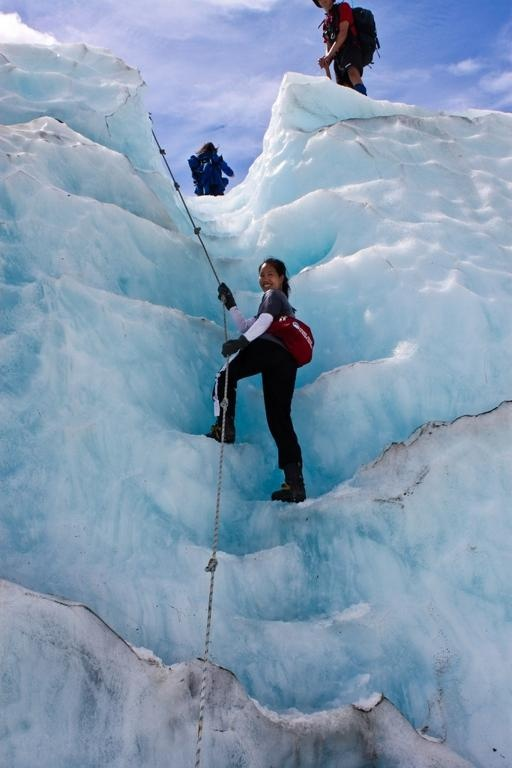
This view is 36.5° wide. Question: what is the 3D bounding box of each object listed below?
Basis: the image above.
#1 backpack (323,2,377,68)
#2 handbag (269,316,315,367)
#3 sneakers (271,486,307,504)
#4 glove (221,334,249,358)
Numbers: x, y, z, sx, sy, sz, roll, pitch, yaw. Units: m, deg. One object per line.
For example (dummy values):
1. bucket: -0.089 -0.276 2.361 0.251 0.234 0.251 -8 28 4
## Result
1. backpack: 0.643 -2.437 5.443 0.398 0.412 0.210 9 29 18
2. handbag: 0.139 -0.170 3.146 0.076 0.211 0.160 -9 43 55
3. sneakers: 0.127 0.420 2.986 0.156 0.068 0.054 4 10 41
4. glove: -0.093 -0.154 2.956 0.099 0.073 0.034 -37 66 2
